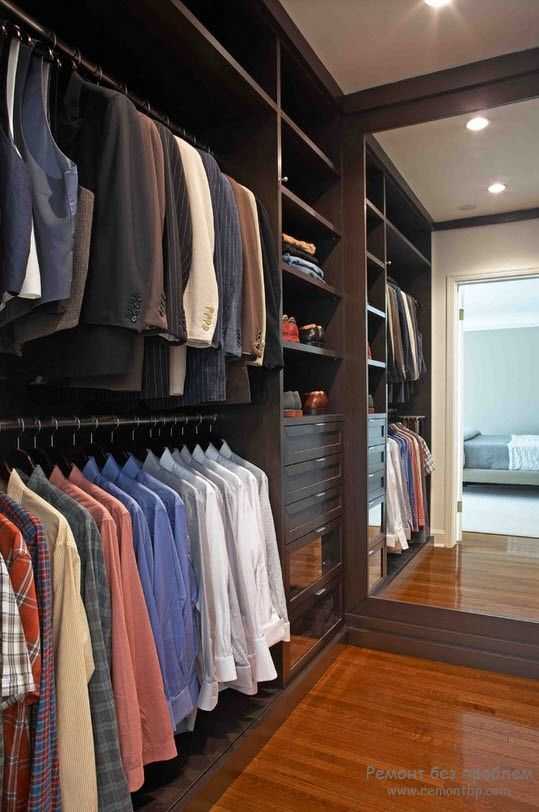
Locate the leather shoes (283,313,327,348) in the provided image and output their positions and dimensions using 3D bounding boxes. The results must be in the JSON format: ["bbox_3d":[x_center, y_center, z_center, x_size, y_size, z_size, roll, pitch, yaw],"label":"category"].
[{"bbox_3d":[0.130,-0.282,2.218,0.105,0.076,0.177,-1,10,-37],"label":"leather shoes"}]
